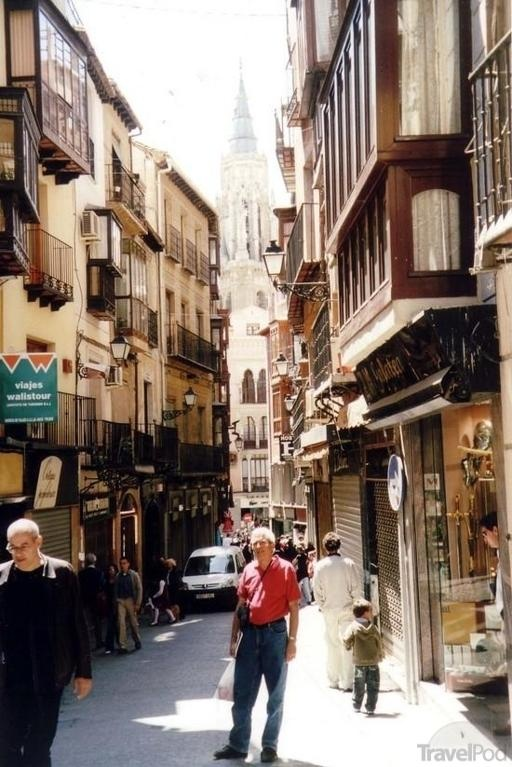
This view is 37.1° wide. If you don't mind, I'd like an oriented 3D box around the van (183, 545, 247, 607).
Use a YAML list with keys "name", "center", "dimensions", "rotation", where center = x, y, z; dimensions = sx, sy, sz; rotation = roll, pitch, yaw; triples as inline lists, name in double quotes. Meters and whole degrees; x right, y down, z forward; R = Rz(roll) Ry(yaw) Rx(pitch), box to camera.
- name: "van"
  center: [-1.222, 5.317, 22.197]
  dimensions: [1.715, 2.418, 3.886]
  rotation: [-3, -12, 5]

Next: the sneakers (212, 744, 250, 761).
- name: "sneakers"
  center: [-0.161, 2.421, 4.934]
  dimensions: [0.220, 0.135, 0.092]
  rotation: [13, -23, -8]

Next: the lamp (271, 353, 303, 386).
- name: "lamp"
  center: [1.566, -0.511, 38.252]
  dimensions: [1.209, 2.465, 1.489]
  rotation: [-2, 3, -6]

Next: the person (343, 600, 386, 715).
- name: "person"
  center: [0.931, 2.412, 6.700]
  dimensions: [0.315, 0.925, 0.520]
  rotation: [-2, -8, 7]

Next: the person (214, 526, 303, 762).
- name: "person"
  center: [0.027, 1.761, 5.220]
  dimensions: [0.616, 1.510, 0.781]
  rotation: [0, -8, -12]

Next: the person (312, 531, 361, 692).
- name: "person"
  center: [0.891, 2.336, 8.173]
  dimensions: [0.382, 1.761, 0.441]
  rotation: [0, 13, 12]

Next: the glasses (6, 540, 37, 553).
- name: "glasses"
  center: [-1.092, 0.762, 3.539]
  dimensions: [0.104, 0.050, 0.078]
  rotation: [-2, -10, -5]

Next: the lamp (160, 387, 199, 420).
- name: "lamp"
  center: [-3.357, 0.843, 32.539]
  dimensions: [1.040, 1.710, 0.509]
  rotation: [-1, -10, 5]

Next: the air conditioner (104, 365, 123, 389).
- name: "air conditioner"
  center: [-4.160, -0.194, 22.423]
  dimensions: [0.431, 0.922, 0.639]
  rotation: [1, -1, -3]

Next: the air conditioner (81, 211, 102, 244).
- name: "air conditioner"
  center: [-4.296, -4.043, 19.707]
  dimensions: [0.419, 0.682, 0.694]
  rotation: [-2, -9, 5]

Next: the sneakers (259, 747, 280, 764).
- name: "sneakers"
  center: [0.083, 2.366, 4.836]
  dimensions: [0.057, 0.086, 0.187]
  rotation: [0, -23, -4]
